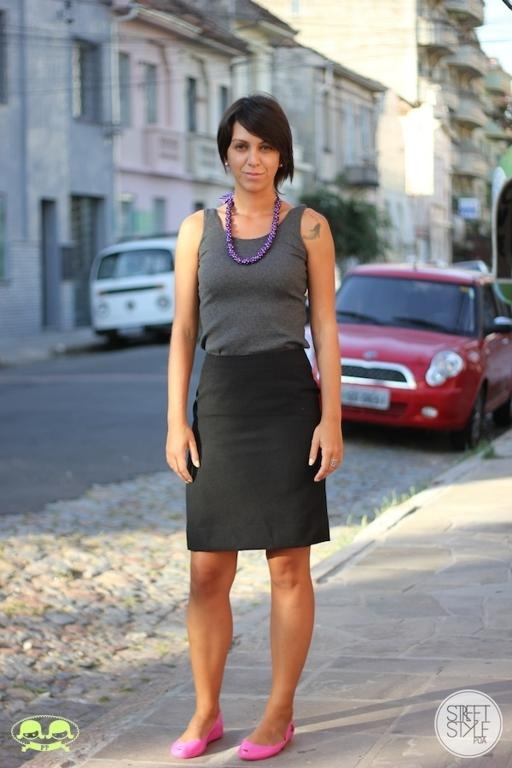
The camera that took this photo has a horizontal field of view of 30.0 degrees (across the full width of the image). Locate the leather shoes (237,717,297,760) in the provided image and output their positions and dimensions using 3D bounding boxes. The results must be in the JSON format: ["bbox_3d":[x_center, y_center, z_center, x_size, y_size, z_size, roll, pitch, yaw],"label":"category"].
[{"bbox_3d":[0.039,0.929,2.465,0.072,0.073,0.214,-4,2,43],"label":"leather shoes"}]

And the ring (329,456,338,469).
[{"bbox_3d":[0.197,0.207,2.447,0.026,0.024,0.030,2,-3,-2],"label":"ring"}]

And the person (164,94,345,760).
[{"bbox_3d":[-0.029,0.106,2.485,0.541,1.523,0.287,-6,2,4],"label":"person"}]

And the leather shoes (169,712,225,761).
[{"bbox_3d":[-0.158,0.935,2.506,0.055,0.054,0.147,0,3,33],"label":"leather shoes"}]
